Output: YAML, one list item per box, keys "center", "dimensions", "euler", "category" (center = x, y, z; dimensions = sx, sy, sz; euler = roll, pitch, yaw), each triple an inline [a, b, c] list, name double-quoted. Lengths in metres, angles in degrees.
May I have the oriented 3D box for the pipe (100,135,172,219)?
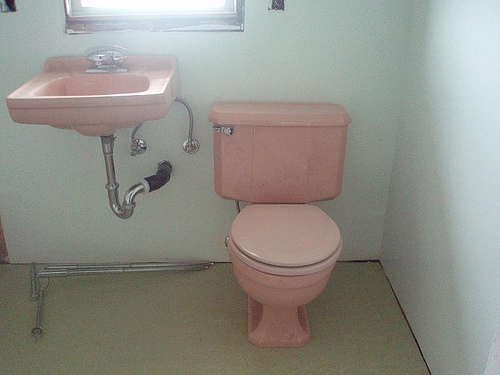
- center: [-0.559, -0.075, 2.063]
  dimensions: [0.085, 0.444, 0.343]
  euler: [25, 45, 28]
  category: "pipe"

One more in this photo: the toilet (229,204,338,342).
- center: [0.134, 0.403, 1.912]
  dimensions: [0.451, 0.540, 0.546]
  euler: [-1, 27, -6]
  category: "toilet"

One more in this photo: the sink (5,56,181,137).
- center: [-0.629, -0.352, 1.820]
  dimensions: [0.621, 0.385, 0.489]
  euler: [-1, 27, -4]
  category: "sink"

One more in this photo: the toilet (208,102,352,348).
- center: [0.145, 0.173, 1.922]
  dimensions: [0.630, 0.964, 0.822]
  euler: [-1, 26, -4]
  category: "toilet"
